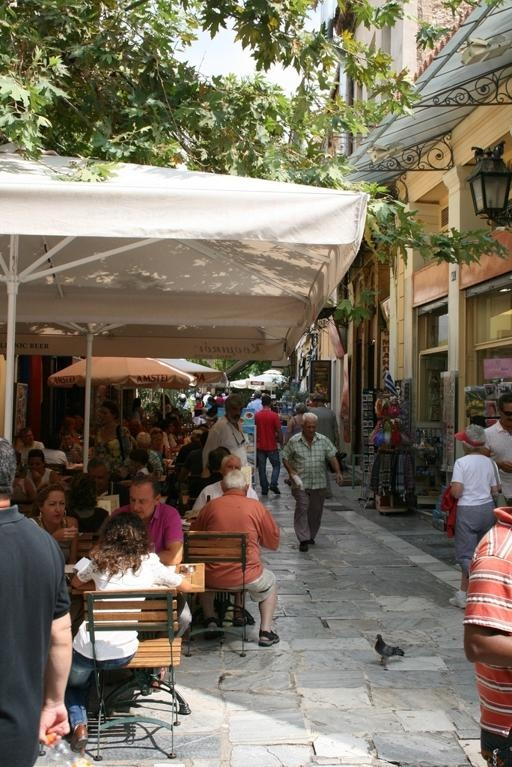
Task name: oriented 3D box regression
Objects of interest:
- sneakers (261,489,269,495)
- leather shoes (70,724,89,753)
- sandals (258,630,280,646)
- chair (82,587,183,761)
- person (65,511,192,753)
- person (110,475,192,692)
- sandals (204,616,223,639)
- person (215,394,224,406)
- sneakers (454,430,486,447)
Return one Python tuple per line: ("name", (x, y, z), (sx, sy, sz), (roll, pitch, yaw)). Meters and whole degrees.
("sneakers", (0.216, 2.535, 16.074), (0.280, 0.145, 0.149), (2, -7, -3))
("leather shoes", (-0.878, 1.790, 3.467), (0.066, 0.179, 0.071), (-7, 38, -34))
("sandals", (0.114, 2.005, 5.434), (0.184, 0.110, 0.158), (1, -1, -11))
("chair", (-0.675, 1.520, 3.857), (0.489, 0.870, 0.779), (1, -1, -6))
("person", (-0.810, 1.368, 3.880), (0.569, 1.244, 0.533), (-6, -19, 25))
("person", (-0.756, 1.404, 5.047), (0.850, 1.417, 0.831), (-2, -2, -22))
("sandals", (-0.349, 2.026, 5.667), (0.091, 0.088, 0.205), (0, 2, -3))
("person", (-1.818, 0.832, 34.840), (0.572, 0.699, 0.414), (1, -15, 1))
("sneakers", (2.047, 0.497, 6.581), (0.150, 0.118, 0.218), (-16, 30, -33))
